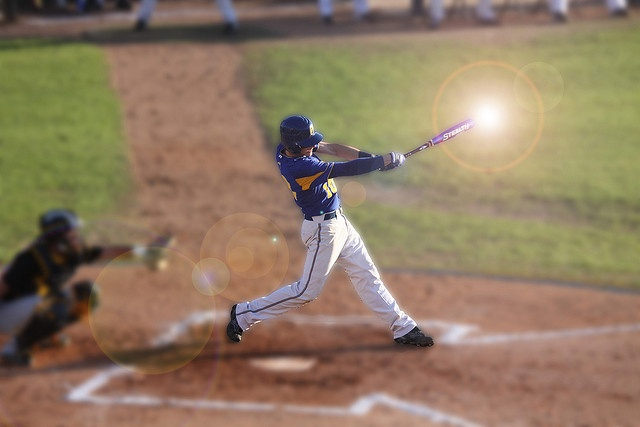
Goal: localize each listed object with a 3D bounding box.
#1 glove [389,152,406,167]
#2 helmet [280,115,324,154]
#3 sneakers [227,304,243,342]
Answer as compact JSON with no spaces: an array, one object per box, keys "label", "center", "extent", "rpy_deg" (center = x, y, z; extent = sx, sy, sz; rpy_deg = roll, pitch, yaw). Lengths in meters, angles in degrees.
[{"label":"glove","center":[1.090,-0.763,11.286],"extent":[0.227,0.159,0.080],"rpy_deg":[-10,52,-33]},{"label":"helmet","center":[-0.265,-1.104,11.310],"extent":[0.575,0.425,0.408],"rpy_deg":[-1,42,-6]},{"label":"sneakers","center":[-1.249,1.555,11.647],"extent":[0.215,0.574,0.246],"rpy_deg":[6,5,-28]}]
